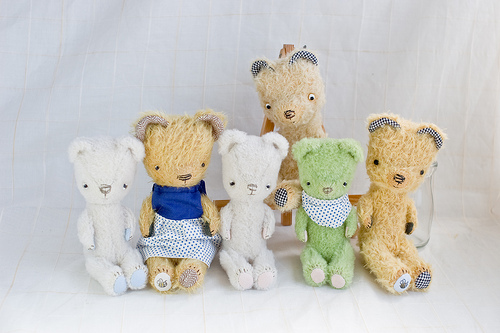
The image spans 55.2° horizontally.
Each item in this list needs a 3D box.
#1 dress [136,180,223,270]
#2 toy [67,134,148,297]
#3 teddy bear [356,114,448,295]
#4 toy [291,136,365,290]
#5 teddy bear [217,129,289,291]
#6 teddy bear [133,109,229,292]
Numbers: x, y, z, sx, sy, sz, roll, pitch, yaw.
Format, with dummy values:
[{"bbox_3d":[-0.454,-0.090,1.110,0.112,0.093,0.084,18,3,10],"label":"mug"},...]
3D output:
[{"bbox_3d":[-0.292,0.217,2.002,0.339,0.396,0.334,0,1,-6],"label":"dress"},{"bbox_3d":[-0.543,0.179,1.895,0.298,0.560,0.323,-5,23,-13],"label":"toy"},{"bbox_3d":[0.594,0.145,1.906,0.316,0.652,0.321,6,24,13],"label":"teddy bear"},{"bbox_3d":[0.303,0.174,1.939,0.289,0.552,0.287,4,23,10],"label":"toy"},{"bbox_3d":[0.004,0.169,1.923,0.284,0.580,0.301,1,23,3],"label":"teddy bear"},{"bbox_3d":[-0.273,0.130,1.914,0.376,0.649,0.343,-1,23,-4],"label":"teddy bear"}]
